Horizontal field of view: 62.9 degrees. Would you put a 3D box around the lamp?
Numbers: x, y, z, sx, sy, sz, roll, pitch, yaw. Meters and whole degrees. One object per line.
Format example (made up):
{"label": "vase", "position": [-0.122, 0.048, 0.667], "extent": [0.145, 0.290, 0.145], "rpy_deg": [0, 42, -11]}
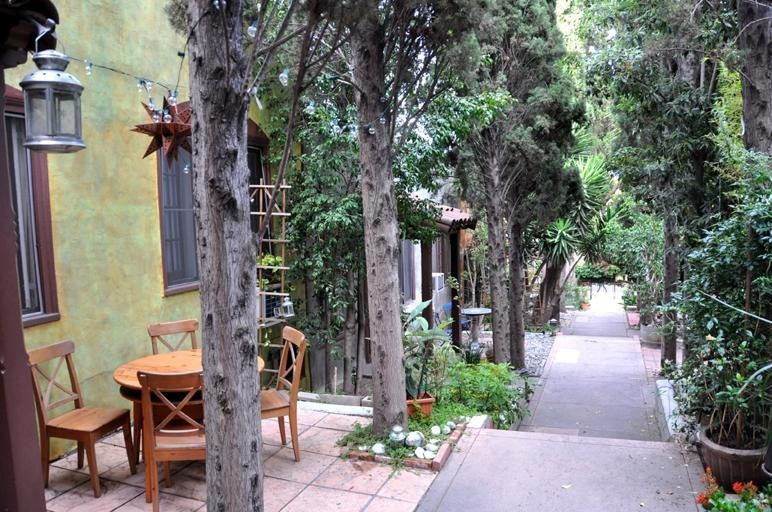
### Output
{"label": "lamp", "position": [-2.751, -1.271, 5.235], "extent": [0.475, 0.821, 0.412], "rpy_deg": [11, 18, 38]}
